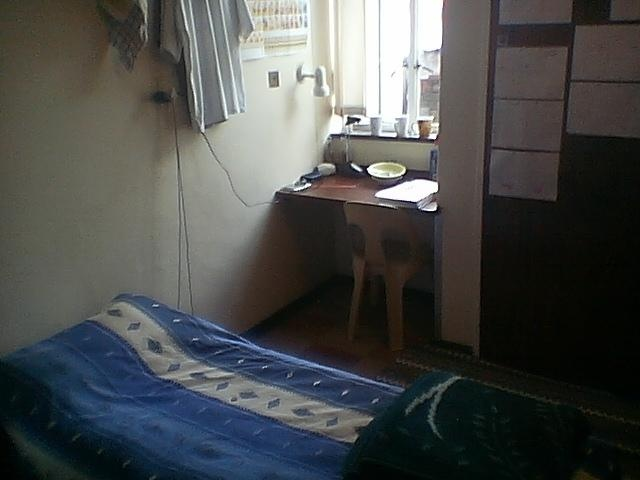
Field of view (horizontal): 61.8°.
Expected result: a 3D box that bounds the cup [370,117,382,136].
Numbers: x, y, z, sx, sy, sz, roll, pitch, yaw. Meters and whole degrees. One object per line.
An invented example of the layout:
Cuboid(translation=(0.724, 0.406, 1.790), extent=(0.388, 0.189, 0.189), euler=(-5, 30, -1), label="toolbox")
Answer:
Cuboid(translation=(0.418, -0.858, 4.024), extent=(0.085, 0.134, 0.140), euler=(2, 17, 8), label="cup")

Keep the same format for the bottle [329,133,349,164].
Cuboid(translation=(0.150, -0.702, 4.148), extent=(0.151, 0.227, 0.081), euler=(7, 17, 24), label="bottle")

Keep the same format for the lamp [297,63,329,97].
Cuboid(translation=(-0.051, -1.144, 3.793), extent=(0.115, 0.195, 0.252), euler=(-27, 39, -36), label="lamp")

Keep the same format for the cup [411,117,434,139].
Cuboid(translation=(0.721, -0.813, 3.870), extent=(0.175, 0.149, 0.157), euler=(5, 18, 19), label="cup")

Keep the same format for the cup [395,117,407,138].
Cuboid(translation=(0.588, -0.819, 3.878), extent=(0.078, 0.135, 0.128), euler=(-4, 10, -5), label="cup")

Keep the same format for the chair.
Cuboid(translation=(0.447, 0.241, 3.550), extent=(0.569, 1.067, 0.719), euler=(7, 26, 26), label="chair")
